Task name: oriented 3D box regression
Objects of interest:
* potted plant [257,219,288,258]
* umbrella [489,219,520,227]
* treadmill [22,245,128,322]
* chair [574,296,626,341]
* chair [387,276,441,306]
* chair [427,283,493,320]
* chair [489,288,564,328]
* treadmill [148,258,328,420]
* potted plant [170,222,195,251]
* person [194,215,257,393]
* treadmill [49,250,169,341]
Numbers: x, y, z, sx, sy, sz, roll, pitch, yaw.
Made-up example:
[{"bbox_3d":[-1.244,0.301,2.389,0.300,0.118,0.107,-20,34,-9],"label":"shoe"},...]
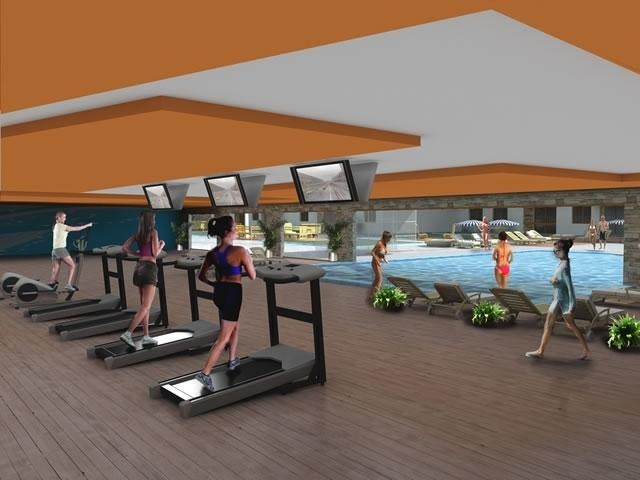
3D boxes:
[{"bbox_3d":[-2.548,-0.110,22.527,1.498,2.048,0.573,2,7,30],"label":"potted plant"},{"bbox_3d":[14.914,-1.329,33.795,1.682,0.387,1.499,-4,4,-37],"label":"umbrella"},{"bbox_3d":[-5.060,1.149,9.885,3.049,1.575,1.379,-2,6,-36],"label":"treadmill"},{"bbox_3d":[5.255,1.438,7.923,1.091,0.807,0.974,6,7,38],"label":"chair"},{"bbox_3d":[2.390,1.235,10.188,1.327,0.374,0.680,-2,3,-43],"label":"chair"},{"bbox_3d":[3.274,1.349,9.399,1.691,0.666,1.147,2,4,-10],"label":"chair"},{"bbox_3d":[4.082,1.256,8.494,0.660,0.434,1.530,5,5,41],"label":"chair"},{"bbox_3d":[-1.000,1.400,6.045,2.832,1.471,1.446,-2,6,-40],"label":"treadmill"},{"bbox_3d":[-9.170,-0.287,27.300,1.356,1.671,0.815,4,7,42],"label":"potted plant"},{"bbox_3d":[-1.236,0.788,5.467,0.772,2.218,1.196,-2,6,-12],"label":"person"},{"bbox_3d":[-4.220,1.463,8.619,2.051,1.365,2.348,5,5,43],"label":"treadmill"}]
